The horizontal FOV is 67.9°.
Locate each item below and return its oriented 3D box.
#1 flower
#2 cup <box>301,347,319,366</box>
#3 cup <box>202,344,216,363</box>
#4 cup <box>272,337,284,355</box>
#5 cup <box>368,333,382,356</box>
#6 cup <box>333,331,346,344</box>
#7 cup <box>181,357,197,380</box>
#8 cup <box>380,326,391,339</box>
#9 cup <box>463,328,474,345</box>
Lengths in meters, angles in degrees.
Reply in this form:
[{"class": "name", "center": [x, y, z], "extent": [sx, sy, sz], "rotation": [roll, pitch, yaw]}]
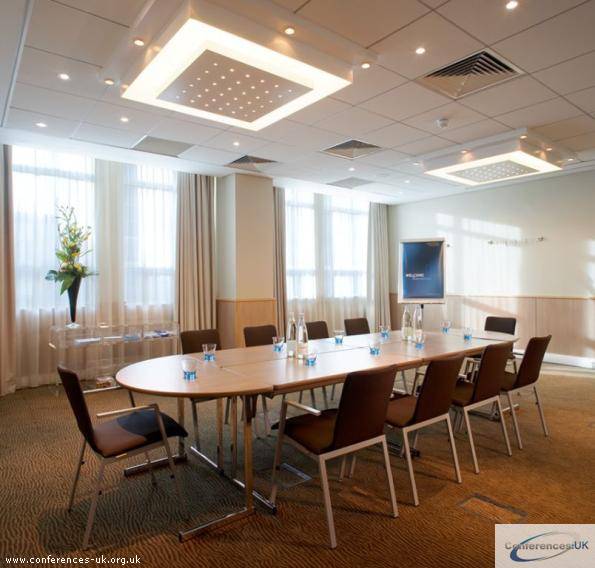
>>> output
[{"class": "flower", "center": [-2.746, -0.215, 5.444], "extent": [0.310, 0.908, 0.430], "rotation": [5, 8, 31]}, {"class": "cup", "center": [0.095, 0.538, 3.262], "extent": [0.094, 0.094, 0.111], "rotation": [0, -5, 5]}, {"class": "cup", "center": [-0.659, 0.536, 3.418], "extent": [0.113, 0.143, 0.121], "rotation": [-2, -6, 0]}, {"class": "cup", "center": [-0.159, 0.526, 3.808], "extent": [0.104, 0.130, 0.112], "rotation": [-1, -1, 0]}, {"class": "cup", "center": [0.731, 0.563, 4.144], "extent": [0.107, 0.145, 0.112], "rotation": [0, 2, 0]}, {"class": "cup", "center": [0.415, 0.512, 4.288], "extent": [0.098, 0.125, 0.104], "rotation": [0, -1, 0]}, {"class": "cup", "center": [-0.667, 0.523, 2.788], "extent": [0.100, 0.186, 0.117], "rotation": [-1, -1, -2]}, {"class": "cup", "center": [0.926, 0.505, 4.665], "extent": [0.124, 0.161, 0.134], "rotation": [1, -1, 0]}, {"class": "cup", "center": [1.722, 0.525, 4.421], "extent": [0.110, 0.202, 0.120], "rotation": [-1, 0, 0]}]
